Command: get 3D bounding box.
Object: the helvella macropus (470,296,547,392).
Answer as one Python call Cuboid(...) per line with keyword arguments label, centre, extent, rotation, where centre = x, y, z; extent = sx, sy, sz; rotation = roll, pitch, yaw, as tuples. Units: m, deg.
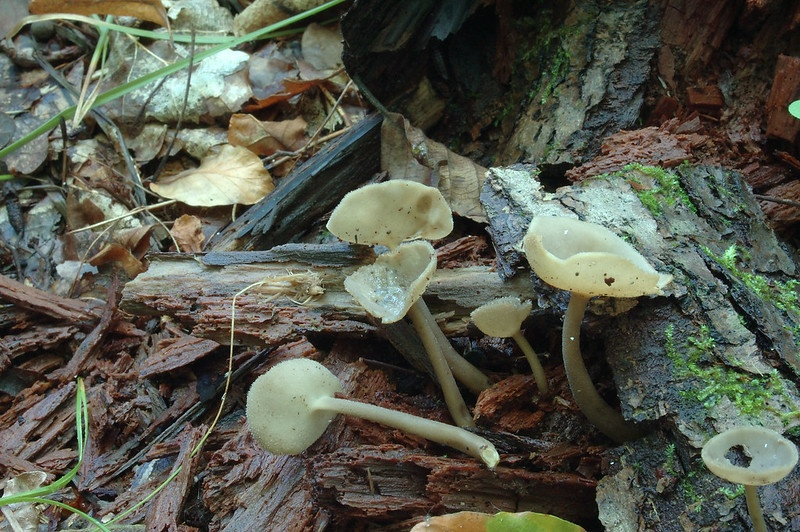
Cuboid(label="helvella macropus", centre=(0.612, 0.497, 3.709), extent=(0.341, 0.298, 0.525), rotation=(16, 46, -29))
